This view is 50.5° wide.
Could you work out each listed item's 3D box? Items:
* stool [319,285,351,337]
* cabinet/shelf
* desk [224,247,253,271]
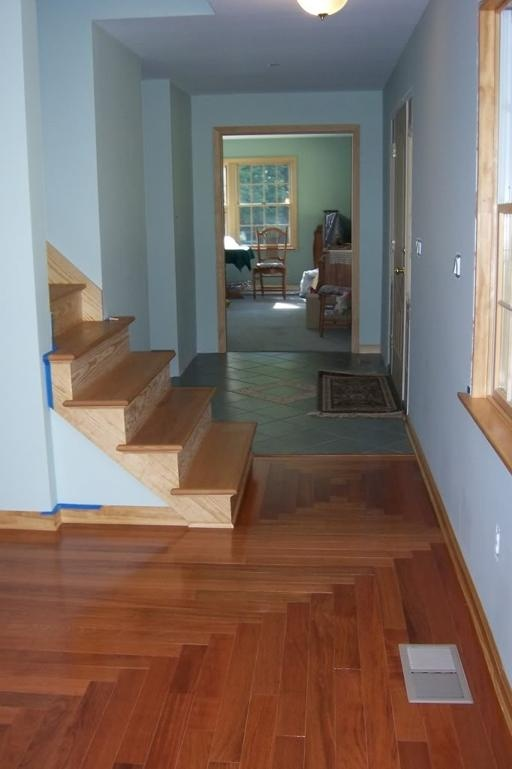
[{"bbox_3d":[1.056,-1.146,7.757,0.539,0.738,0.759,0,25,3],"label":"stool"},{"bbox_3d":[1.005,-1.292,7.622,0.624,1.185,0.704,-1,5,5],"label":"cabinet/shelf"},{"bbox_3d":[-0.347,-2.429,10.562,0.318,0.436,0.680,1,6,30],"label":"desk"}]
